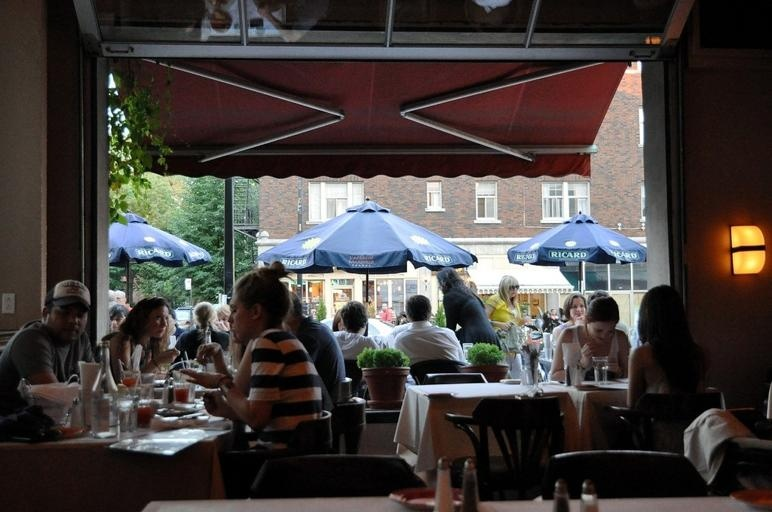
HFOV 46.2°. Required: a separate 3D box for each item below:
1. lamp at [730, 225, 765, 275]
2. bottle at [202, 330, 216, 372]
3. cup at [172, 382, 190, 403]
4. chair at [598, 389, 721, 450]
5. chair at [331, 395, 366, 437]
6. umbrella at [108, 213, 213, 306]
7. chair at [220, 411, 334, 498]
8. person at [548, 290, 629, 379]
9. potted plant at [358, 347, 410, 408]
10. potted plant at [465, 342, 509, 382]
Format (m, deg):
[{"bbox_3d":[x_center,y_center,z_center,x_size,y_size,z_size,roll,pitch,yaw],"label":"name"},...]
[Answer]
[{"bbox_3d":[3.122,-0.039,7.852,0.323,0.403,0.083,2,-5,-8],"label":"lamp"},{"bbox_3d":[-1.462,0.796,7.429,0.062,0.277,0.081,-2,-3,8],"label":"bottle"},{"bbox_3d":[-1.501,1.016,6.629,0.126,0.128,0.117,-1,-2,0],"label":"cup"},{"bbox_3d":[2.058,1.234,6.970,0.683,0.767,0.569,0,2,-5],"label":"chair"},{"bbox_3d":[-0.273,1.275,7.086,0.245,0.202,0.244,1,0,22],"label":"chair"},{"bbox_3d":[-3.295,0.048,13.110,1.303,0.926,1.274,-1,3,-26],"label":"umbrella"},{"bbox_3d":[-0.695,1.259,5.926,0.535,0.554,0.613,0,-12,11],"label":"chair"},{"bbox_3d":[1.800,0.737,7.937,0.813,0.744,0.552,1,-3,-22],"label":"person"},{"bbox_3d":[-0.026,1.098,8.058,0.506,0.485,0.493,1,-13,-7],"label":"potted plant"},{"bbox_3d":[0.888,0.977,8.319,0.389,0.379,0.321,0,-15,-5],"label":"potted plant"}]
